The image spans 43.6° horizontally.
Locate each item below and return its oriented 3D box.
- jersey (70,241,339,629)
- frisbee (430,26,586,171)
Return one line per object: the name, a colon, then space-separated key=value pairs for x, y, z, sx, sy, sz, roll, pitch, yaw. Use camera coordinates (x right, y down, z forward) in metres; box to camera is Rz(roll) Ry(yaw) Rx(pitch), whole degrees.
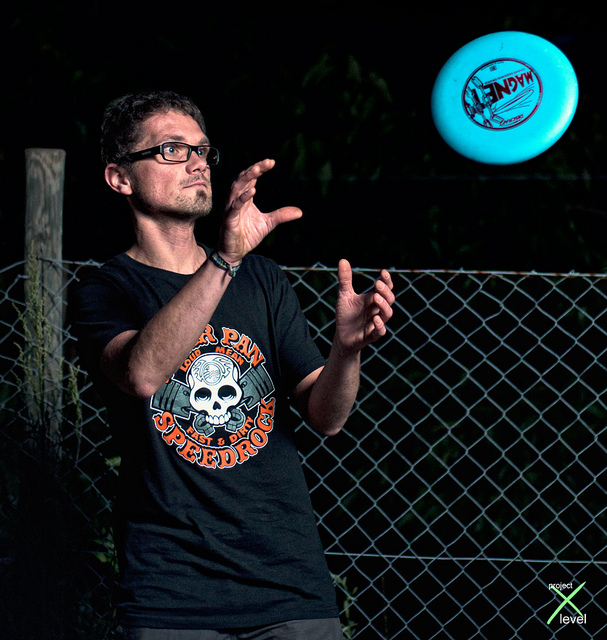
jersey: x=-0.240 y=0.343 z=1.926 sx=0.640 sy=0.971 sz=0.564 roll=-8 pitch=9 yaw=-20
frisbee: x=0.835 y=-0.919 z=3.173 sx=0.584 sy=0.435 sz=0.308 roll=2 pitch=41 yaw=13
